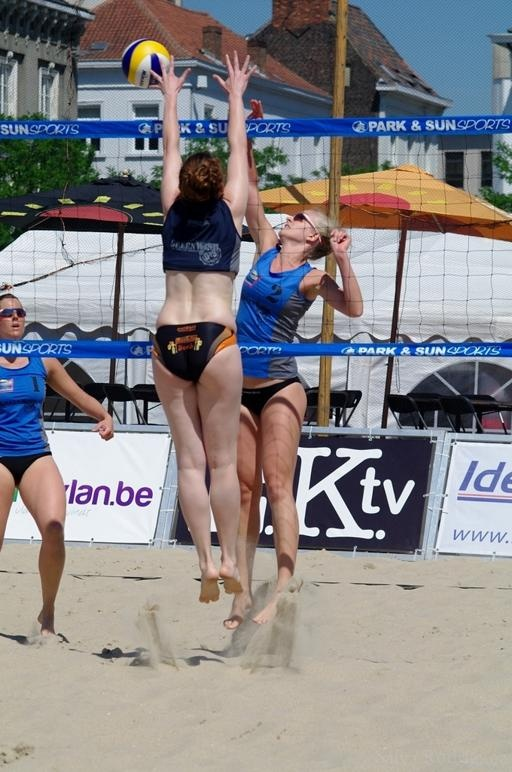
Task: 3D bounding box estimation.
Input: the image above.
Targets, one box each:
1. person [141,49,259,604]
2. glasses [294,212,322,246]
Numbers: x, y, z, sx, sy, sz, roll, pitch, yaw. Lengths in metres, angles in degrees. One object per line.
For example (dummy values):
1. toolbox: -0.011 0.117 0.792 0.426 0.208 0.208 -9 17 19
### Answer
1. person: -0.188 -0.221 3.577 0.327 2.040 0.499 1 -1 -1
2. glasses: 0.221 -0.646 4.145 0.112 0.102 0.032 5 10 39
